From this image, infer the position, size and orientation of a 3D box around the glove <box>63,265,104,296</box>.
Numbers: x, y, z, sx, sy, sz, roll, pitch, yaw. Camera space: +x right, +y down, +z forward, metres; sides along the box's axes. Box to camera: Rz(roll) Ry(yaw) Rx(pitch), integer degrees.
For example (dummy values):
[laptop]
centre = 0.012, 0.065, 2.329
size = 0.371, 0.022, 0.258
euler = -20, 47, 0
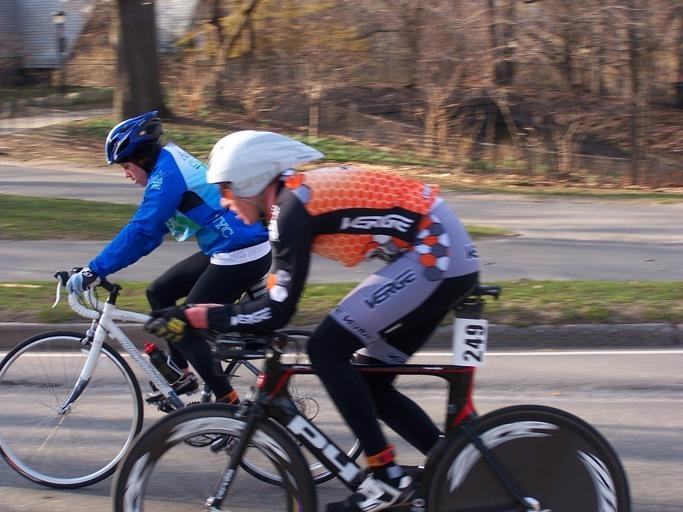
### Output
[glove]
centre = -2.310, 0.229, 8.890
size = 0.304, 0.267, 0.210
euler = 3, 11, -9
